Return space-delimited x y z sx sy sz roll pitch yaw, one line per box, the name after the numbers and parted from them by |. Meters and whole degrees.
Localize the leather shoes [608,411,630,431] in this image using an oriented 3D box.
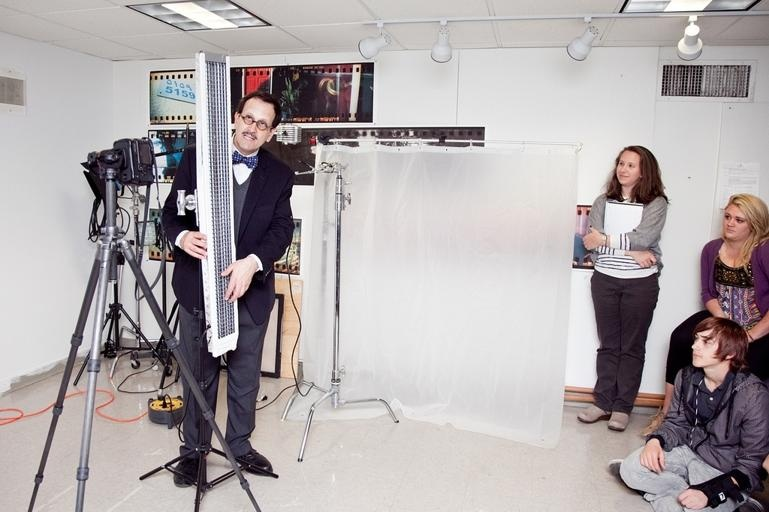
1.943 1.371 4.618 0.086 0.097 0.245 -1 -2 25 | leather shoes

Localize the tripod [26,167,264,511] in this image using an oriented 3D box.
-1.521 0.529 3.253 1.051 2.088 0.645 -5 12 -36 | tripod

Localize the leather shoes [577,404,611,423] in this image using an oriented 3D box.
1.779 1.341 4.782 0.312 0.121 0.122 0 3 -16 | leather shoes

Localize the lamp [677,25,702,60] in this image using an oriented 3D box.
2.412 -1.657 4.320 0.188 0.200 0.184 -11 27 9 | lamp

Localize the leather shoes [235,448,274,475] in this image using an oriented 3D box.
-0.925 1.463 3.934 0.309 0.120 0.134 11 19 22 | leather shoes

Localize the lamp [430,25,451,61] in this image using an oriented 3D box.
0.455 -1.742 4.451 0.183 0.275 0.204 15 40 14 | lamp

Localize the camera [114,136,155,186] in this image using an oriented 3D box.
-1.490 -0.562 3.252 0.209 0.279 0.200 0 7 15 | camera

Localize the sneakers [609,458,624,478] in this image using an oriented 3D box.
1.675 1.538 4.077 0.141 0.132 0.097 -1 5 -3 | sneakers

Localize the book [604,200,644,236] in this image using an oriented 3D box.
1.969 -0.325 4.597 0.303 0.273 0.151 6 11 23 | book

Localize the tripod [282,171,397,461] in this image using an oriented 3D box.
-0.451 0.305 4.665 0.938 2.190 1.131 -3 11 -27 | tripod

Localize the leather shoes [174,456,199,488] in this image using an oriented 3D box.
-1.379 1.492 3.853 0.126 0.155 0.368 6 -11 -18 | leather shoes

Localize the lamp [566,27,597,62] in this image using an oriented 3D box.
1.572 -1.701 4.354 0.154 0.223 0.301 0 10 -12 | lamp
